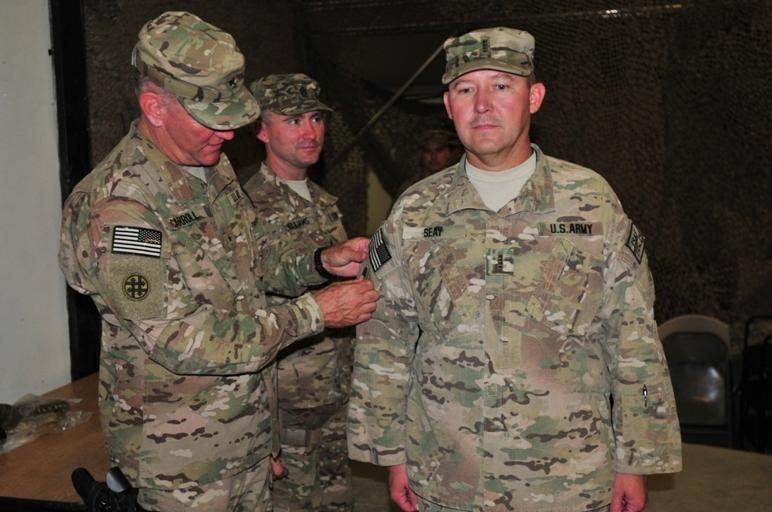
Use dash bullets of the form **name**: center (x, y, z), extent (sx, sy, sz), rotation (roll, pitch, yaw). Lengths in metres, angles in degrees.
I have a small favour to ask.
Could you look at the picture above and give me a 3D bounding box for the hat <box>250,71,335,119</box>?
- **hat**: center (-0.562, -0.963, 5.052), extent (0.311, 0.152, 0.425), rotation (-12, 20, -41)
